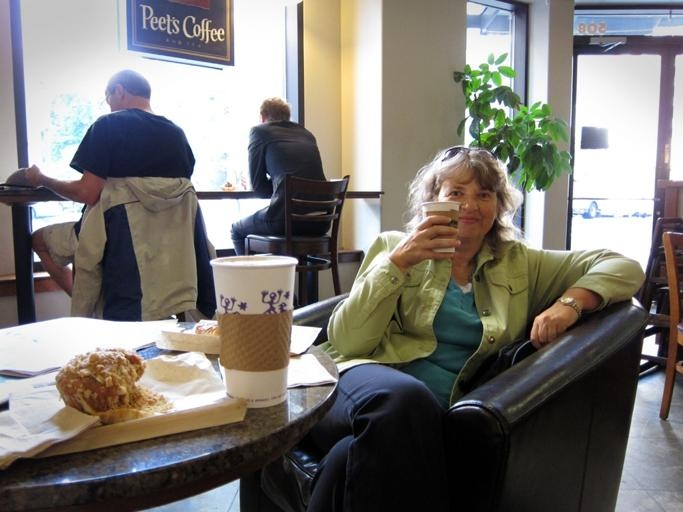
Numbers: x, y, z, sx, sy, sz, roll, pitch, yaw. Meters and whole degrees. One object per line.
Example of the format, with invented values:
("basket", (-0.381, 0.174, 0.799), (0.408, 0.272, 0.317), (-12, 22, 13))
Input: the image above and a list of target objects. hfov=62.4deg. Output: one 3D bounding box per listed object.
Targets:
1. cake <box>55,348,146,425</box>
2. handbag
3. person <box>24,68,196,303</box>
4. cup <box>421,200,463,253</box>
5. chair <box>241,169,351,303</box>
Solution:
("cake", (-0.465, 0.247, 1.094), (0.136, 0.092, 0.140), (1, 17, -20))
("handbag", (0.468, 0.321, 1.743), (0.214, 0.081, 0.160), (-36, -6, 0))
("person", (-1.257, -0.268, 3.048), (0.762, 1.363, 0.747), (9, 10, 33))
("cup", (0.309, -0.093, 1.767), (0.132, 0.146, 0.136), (1, 0, 0))
("chair", (-0.092, -0.011, 3.500), (0.517, 0.795, 0.539), (3, -6, -45))
